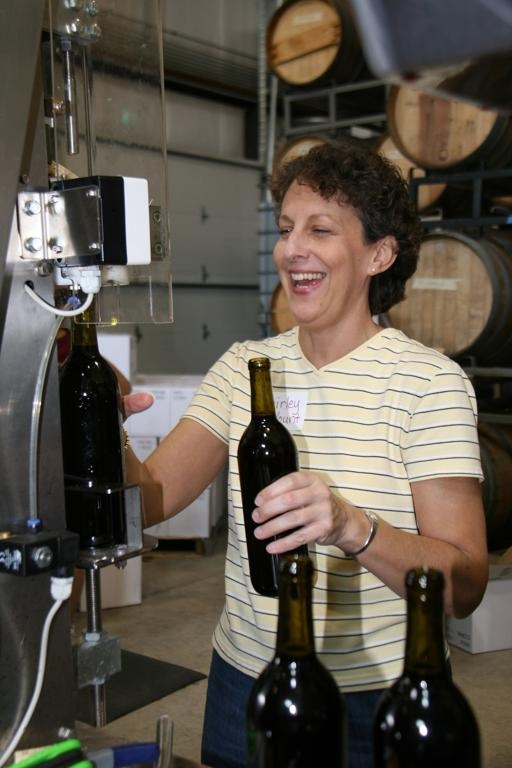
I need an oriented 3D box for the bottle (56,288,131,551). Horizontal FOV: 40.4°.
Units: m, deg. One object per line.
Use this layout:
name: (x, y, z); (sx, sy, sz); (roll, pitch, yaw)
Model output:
bottle: (-0.171, 0.048, 0.726); (0.063, 0.228, 0.097); (-2, 4, -15)
